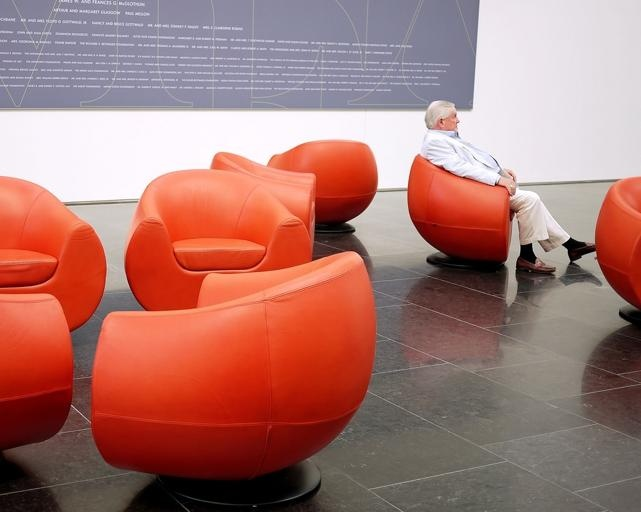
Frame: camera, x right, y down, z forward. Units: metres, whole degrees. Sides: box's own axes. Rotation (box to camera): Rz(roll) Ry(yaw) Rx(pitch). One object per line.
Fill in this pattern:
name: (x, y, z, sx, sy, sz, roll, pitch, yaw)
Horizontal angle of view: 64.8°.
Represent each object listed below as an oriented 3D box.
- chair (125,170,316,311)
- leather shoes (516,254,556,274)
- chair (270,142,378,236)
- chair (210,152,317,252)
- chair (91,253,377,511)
chair: (-0.325, -0.044, 3.338, 1.402, 0.851, 1.035, 1, 6, 33)
leather shoes: (1.949, 0.083, 4.609, 0.313, 0.096, 0.146, 2, 5, 25)
chair: (-0.039, -0.837, 6.295, 1.459, 1.016, 1.345, 0, 7, -2)
chair: (-0.400, -0.429, 4.152, 0.930, 0.688, 0.863, -2, 17, -10)
chair: (-0.227, 0.339, 1.679, 0.861, 0.705, 0.979, 5, 4, 16)
